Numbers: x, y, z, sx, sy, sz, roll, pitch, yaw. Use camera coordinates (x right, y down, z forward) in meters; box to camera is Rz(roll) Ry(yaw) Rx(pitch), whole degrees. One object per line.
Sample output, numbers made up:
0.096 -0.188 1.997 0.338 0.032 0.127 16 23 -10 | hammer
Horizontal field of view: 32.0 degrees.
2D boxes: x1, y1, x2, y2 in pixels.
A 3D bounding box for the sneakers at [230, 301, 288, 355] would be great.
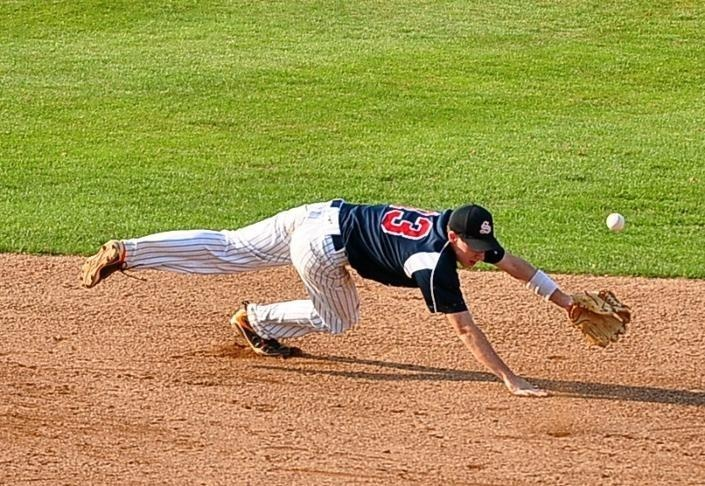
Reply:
-1.035 0.948 13.405 0.567 0.256 0.201 41 41 7 | sneakers
